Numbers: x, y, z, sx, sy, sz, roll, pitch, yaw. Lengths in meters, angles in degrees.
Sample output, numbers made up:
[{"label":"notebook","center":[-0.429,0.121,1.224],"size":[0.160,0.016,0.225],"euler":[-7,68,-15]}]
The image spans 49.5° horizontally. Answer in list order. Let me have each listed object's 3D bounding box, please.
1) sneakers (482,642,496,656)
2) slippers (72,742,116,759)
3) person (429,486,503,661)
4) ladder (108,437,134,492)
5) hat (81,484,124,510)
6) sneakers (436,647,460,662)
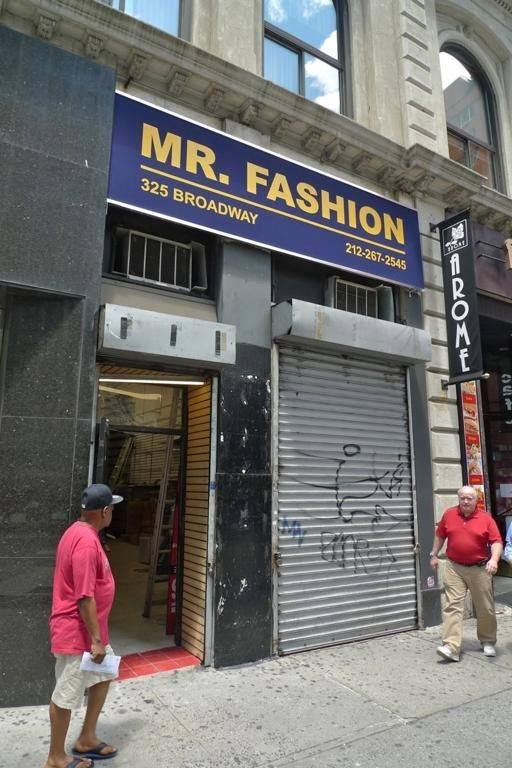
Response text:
[{"label":"sneakers","center":[2.248,2.555,5.346],"size":[0.115,0.088,0.238],"euler":[-3,-11,22]},{"label":"slippers","center":[-0.898,2.028,3.121],"size":[0.190,0.066,0.112],"euler":[7,-15,-15]},{"label":"person","center":[2.078,1.828,5.479],"size":[0.648,1.604,0.998],"euler":[-2,-11,19]},{"label":"ladder","center":[-3.010,1.748,12.443],"size":[0.355,1.162,0.715],"euler":[6,-11,-25]},{"label":"hat","center":[-0.898,0.638,3.238],"size":[0.146,0.139,0.240],"euler":[4,7,28]},{"label":"sneakers","center":[1.782,2.484,5.129],"size":[0.183,0.132,0.268],"euler":[-2,-11,21]}]
